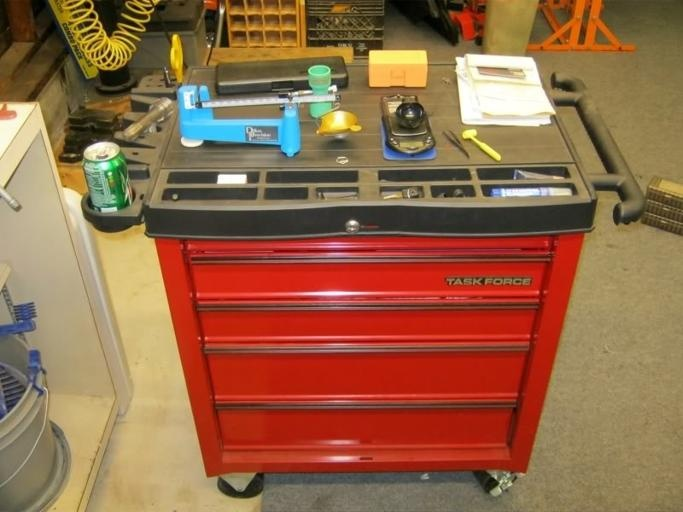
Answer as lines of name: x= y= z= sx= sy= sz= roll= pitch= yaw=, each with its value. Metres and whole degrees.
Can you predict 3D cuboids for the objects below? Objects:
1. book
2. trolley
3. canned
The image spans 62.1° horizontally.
book: x=0.553 y=-0.555 z=1.974 sx=0.325 sy=0.063 sz=0.306 roll=1 pitch=57 yaw=-3
trolley: x=0.115 y=0.311 z=2.669 sx=2.269 sy=1.744 sz=1.315 roll=-1 pitch=42 yaw=1
canned: x=-0.717 y=-0.244 z=1.701 sx=0.134 sy=0.143 sz=0.220 roll=-18 pitch=47 yaw=-17
